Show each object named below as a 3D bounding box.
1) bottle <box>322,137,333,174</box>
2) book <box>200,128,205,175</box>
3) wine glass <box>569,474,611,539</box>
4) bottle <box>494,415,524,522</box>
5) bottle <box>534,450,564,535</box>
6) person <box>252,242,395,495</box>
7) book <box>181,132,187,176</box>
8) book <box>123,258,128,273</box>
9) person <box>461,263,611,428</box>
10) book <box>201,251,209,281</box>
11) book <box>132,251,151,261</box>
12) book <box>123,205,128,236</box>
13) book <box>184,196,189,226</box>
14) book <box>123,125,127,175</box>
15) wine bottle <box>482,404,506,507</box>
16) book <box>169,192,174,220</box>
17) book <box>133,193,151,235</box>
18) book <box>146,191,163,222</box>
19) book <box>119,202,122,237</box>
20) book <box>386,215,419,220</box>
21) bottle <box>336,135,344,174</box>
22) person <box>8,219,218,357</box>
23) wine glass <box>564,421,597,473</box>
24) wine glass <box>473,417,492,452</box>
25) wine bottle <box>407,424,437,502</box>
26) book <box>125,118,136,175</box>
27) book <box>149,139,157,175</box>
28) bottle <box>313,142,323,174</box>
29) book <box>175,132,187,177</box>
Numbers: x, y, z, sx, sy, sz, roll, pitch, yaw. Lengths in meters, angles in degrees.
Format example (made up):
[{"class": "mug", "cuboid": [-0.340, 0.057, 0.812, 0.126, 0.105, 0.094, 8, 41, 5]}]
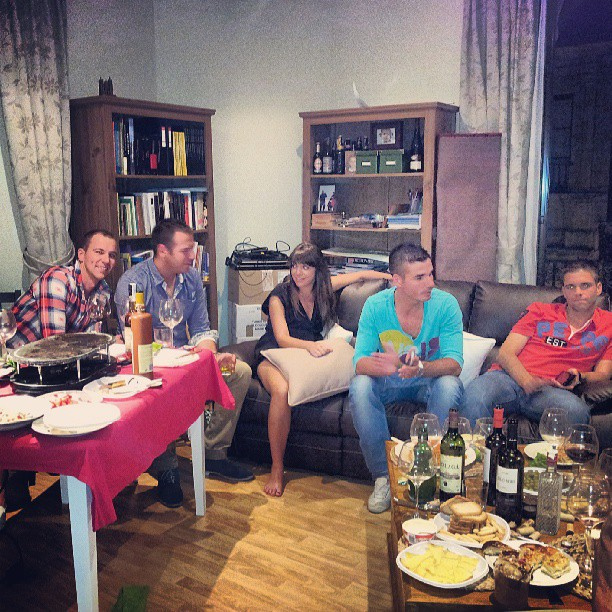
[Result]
[{"class": "bottle", "cuboid": [0.166, -1.164, 4.401, 0.081, 0.298, 0.234, 1, 8, 3]}, {"class": "book", "cuboid": [-0.780, -1.172, 4.335, 0.024, 0.329, 0.018, -1, 8, -8]}, {"class": "wine glass", "cuboid": [0.744, 0.494, 1.506, 0.080, 0.148, 0.113, -3, 9, -22]}, {"class": "bottle", "cuboid": [0.596, 0.472, 1.671, 0.087, 0.349, 0.202, 4, 9, 23]}, {"class": "bottle", "cuboid": [0.686, 0.517, 1.613, 0.065, 0.252, 0.078, 4, 9, 26]}, {"class": "person", "cuboid": [0.079, 0.288, 3.052, 0.701, 1.245, 0.857, 6, 17, 17]}, {"class": "book", "cuboid": [-0.907, -1.134, 4.245, 0.015, 0.313, 0.058, 3, 8, 20]}, {"class": "book", "cuboid": [-1.251, -0.290, 3.958, 0.031, 0.083, 0.069, -1, 8, -11]}, {"class": "person", "cuboid": [1.101, 0.154, 2.692, 0.644, 0.715, 0.592, 4, 9, 20]}, {"class": "book", "cuboid": [-0.785, -0.314, 4.445, 0.044, 0.222, 0.091, 5, 9, 29]}, {"class": "book", "cuboid": [-1.156, -0.366, 4.057, 0.123, 0.048, 0.138, 3, 9, 12]}, {"class": "book", "cuboid": [-1.229, -0.588, 3.891, 0.015, 0.193, 0.038, 4, 9, 27]}, {"class": "book", "cuboid": [-0.898, -0.722, 4.271, 0.029, 0.204, 0.060, 1, 8, 7]}, {"class": "book", "cuboid": [-1.213, -1.050, 3.824, 0.010, 0.313, 0.037, 4, 9, 25]}, {"class": "wine bottle", "cuboid": [0.590, 0.459, 1.739, 0.067, 0.308, 0.058, 14, -15, -33]}, {"class": "book", "cuboid": [-0.988, -0.747, 4.187, 0.018, 0.173, 0.042, 4, 8, 22]}, {"class": "book", "cuboid": [-1.156, -0.644, 4.170, 0.181, 0.333, 0.292, -3, 5, -15]}, {"class": "book", "cuboid": [-1.051, -0.669, 3.998, 0.111, 0.266, 0.241, 1, 8, -1]}, {"class": "book", "cuboid": [-1.252, -0.594, 3.861, 0.016, 0.220, 0.044, -2, 8, -18]}, {"class": "book", "cuboid": [0.678, -0.631, 4.058, 0.070, 0.031, 0.270, -6, 11, -39]}, {"class": "bottle", "cuboid": [0.260, -1.131, 4.289, 0.061, 0.275, 0.109, 0, 8, -6]}, {"class": "person", "cuboid": [-0.975, -0.101, 2.746, 0.379, 0.592, 0.718, 5, 2, 38]}, {"class": "wine glass", "cuboid": [0.815, 0.403, 1.697, 0.084, 0.110, 0.077, 6, 10, 34]}, {"class": "wine glass", "cuboid": [0.569, 0.415, 1.846, 0.070, 0.124, 0.087, 0, -1, 4]}, {"class": "wine bottle", "cuboid": [0.371, 0.491, 1.820, 0.096, 0.267, 0.103, 0, 8, 0]}, {"class": "book", "cuboid": [-1.189, -1.081, 3.872, 0.034, 0.372, 0.089, 4, 9, 25]}, {"class": "book", "cuboid": [-1.076, -1.058, 4.033, 0.023, 0.245, 0.073, 4, 9, 27]}, {"class": "bottle", "cuboid": [0.090, -1.128, 4.368, 0.069, 0.241, 0.098, 0, 8, -4]}, {"class": "book", "cuboid": [-0.924, -1.128, 4.224, 0.106, 0.316, 0.023, -4, 4, -24]}]
